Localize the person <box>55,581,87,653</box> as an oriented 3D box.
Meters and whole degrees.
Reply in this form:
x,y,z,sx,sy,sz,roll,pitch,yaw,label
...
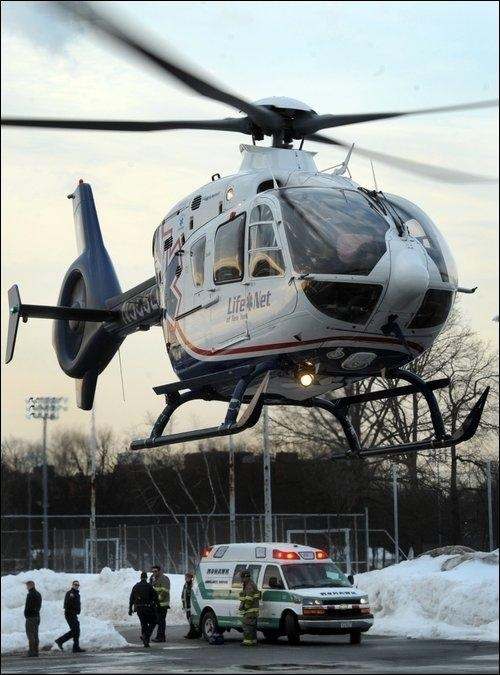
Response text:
x,y,z,sx,sy,sz,roll,pitch,yaw,label
-3.075,4.865,16.707,0.493,1.203,0.617,12,-13,-8,person

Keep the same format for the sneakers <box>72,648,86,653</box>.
x,y,z,sx,sy,sz,roll,pitch,yaw,label
-2.973,5.396,16.541,0.190,0.056,0.446,9,-11,-4,sneakers

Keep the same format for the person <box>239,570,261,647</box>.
x,y,z,sx,sy,sz,roll,pitch,yaw,label
-0.025,4.599,16.264,0.429,1.199,0.888,9,-12,2,person

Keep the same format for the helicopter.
x,y,z,sx,sy,sz,roll,pitch,yaw,label
-0.089,-0.819,15.491,6.687,3.684,8.004,5,-11,-28,helicopter

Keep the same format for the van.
x,y,z,sx,sy,sz,roll,pitch,yaw,label
0.398,4.581,17.400,1.756,1.431,3.160,7,-15,-34,van
